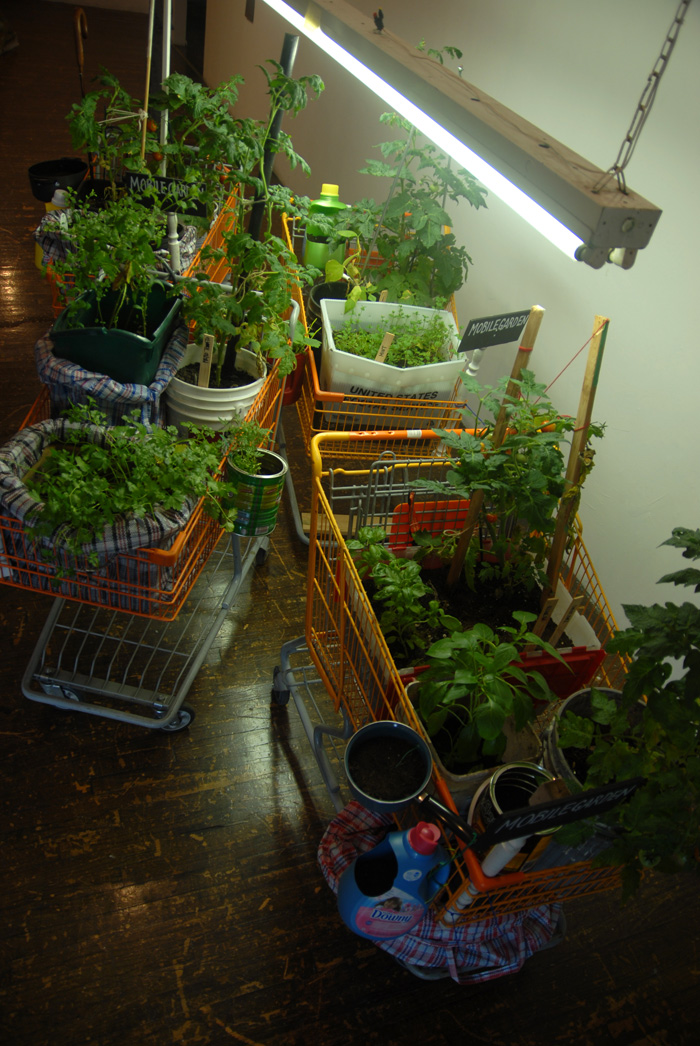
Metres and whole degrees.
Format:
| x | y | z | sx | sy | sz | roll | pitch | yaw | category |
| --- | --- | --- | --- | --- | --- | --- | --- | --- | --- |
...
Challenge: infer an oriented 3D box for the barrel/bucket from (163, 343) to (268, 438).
| x | y | z | sx | sy | sz | roll | pitch | yaw | category |
| --- | --- | --- | --- | --- | --- | --- | --- | --- | --- |
| -0.444 | -0.398 | 2.371 | 0.296 | 0.241 | 0.329 | 14 | 48 | -10 | barrel/bucket |
